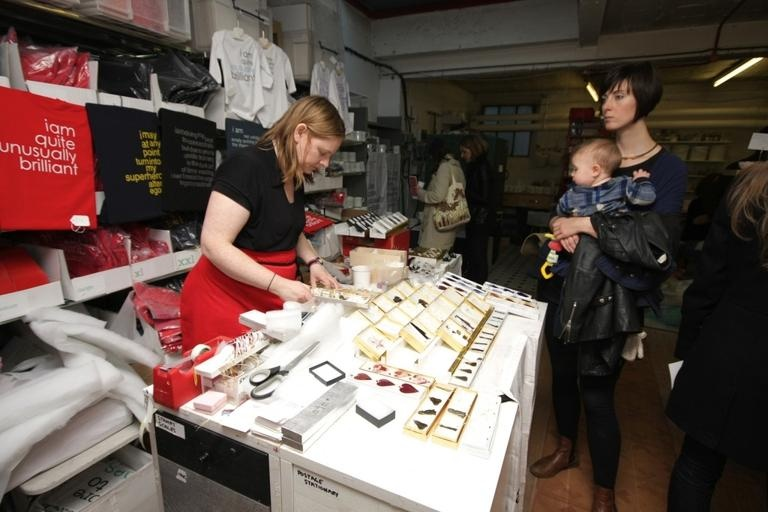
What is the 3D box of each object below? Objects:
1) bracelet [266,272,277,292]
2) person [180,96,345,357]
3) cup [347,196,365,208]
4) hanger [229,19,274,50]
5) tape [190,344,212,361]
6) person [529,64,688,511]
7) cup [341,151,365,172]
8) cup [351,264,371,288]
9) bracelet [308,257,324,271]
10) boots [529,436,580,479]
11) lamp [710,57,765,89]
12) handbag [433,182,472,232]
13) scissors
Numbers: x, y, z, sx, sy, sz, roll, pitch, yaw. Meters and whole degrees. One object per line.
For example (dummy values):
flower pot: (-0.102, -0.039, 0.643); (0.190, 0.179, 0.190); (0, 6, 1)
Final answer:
bracelet: (-0.589, 0.139, 2.552); (0.053, 0.096, 0.032); (-7, 21, -30)
person: (-0.657, -0.135, 2.662); (0.876, 1.464, 0.621); (-5, 20, -26)
cup: (-0.335, -0.610, 5.436); (0.188, 0.118, 0.148); (17, 22, 34)
hanger: (-1.071, -1.789, 3.889); (0.038, 0.153, 0.456); (-10, 16, 24)
tape: (-0.864, 0.453, 2.279); (0.070, 0.017, 0.071); (34, 53, 19)
person: (1.308, 0.219, 2.844); (0.659, 2.596, 0.804); (2, 18, -5)
cup: (-0.326, -1.019, 5.214); (0.269, 0.193, 0.267); (0, 12, 0)
cup: (-0.137, 0.133, 3.113); (0.126, 0.141, 0.153); (1, 18, -8)
bracelet: (-0.432, 0.066, 3.085); (0.082, 0.086, 0.084); (-9, 16, 36)
boots: (1.118, 1.296, 3.175); (0.342, 0.322, 0.157); (-13, 31, -9)
lamp: (5.608, -2.917, 7.666); (1.865, 0.089, 0.191); (-31, 10, -26)
handbag: (0.690, -0.520, 5.034); (0.419, 0.599, 0.198); (-13, 17, 2)
scissors: (-0.473, 0.529, 2.242); (0.117, 0.024, 0.304); (41, 48, 20)
